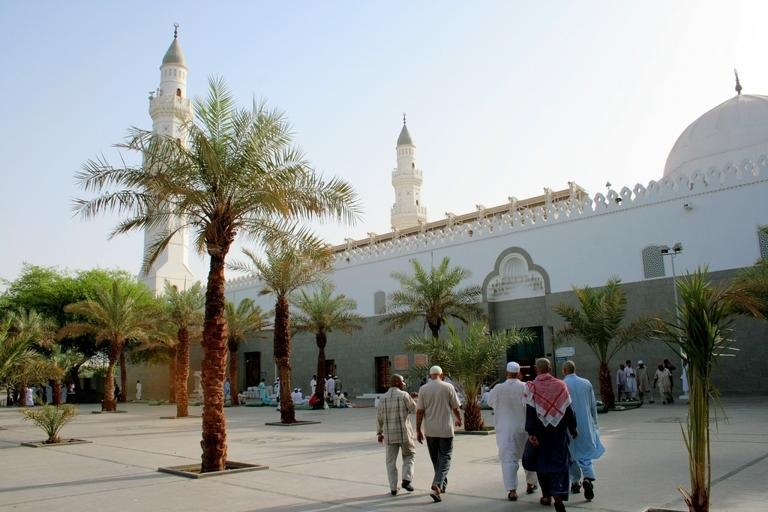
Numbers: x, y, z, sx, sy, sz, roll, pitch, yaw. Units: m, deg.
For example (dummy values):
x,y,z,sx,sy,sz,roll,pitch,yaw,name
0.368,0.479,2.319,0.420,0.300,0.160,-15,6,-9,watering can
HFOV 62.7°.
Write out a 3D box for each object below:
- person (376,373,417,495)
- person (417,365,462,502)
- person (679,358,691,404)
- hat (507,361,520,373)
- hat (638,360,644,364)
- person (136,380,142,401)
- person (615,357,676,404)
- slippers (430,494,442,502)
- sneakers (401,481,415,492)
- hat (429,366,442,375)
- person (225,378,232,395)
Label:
x,y,z,sx,sy,sz,roll,pitch,yaw,name
0.260,3.366,12.123,0.734,2.155,1.113,-2,-11,0,person
0.946,3.215,11.630,0.694,2.316,1.001,-8,-12,27,person
11.638,4.977,24.558,0.275,1.226,2.456,-7,-12,21,person
2.443,2.101,11.894,0.213,0.165,0.295,4,0,9,hat
10.425,4.302,25.535,0.124,0.159,0.080,-9,-16,40,hat
-16.198,8.870,41.724,0.350,1.182,1.485,2,-12,-21,person
10.497,4.960,25.144,1.824,1.610,0.476,-2,-7,30,person
0.924,4.206,11.009,0.182,0.159,0.182,-3,-11,3,slippers
0.486,4.225,11.553,0.283,0.213,0.113,-1,-8,15,sneakers
0.998,2.197,12.134,0.151,0.129,0.234,3,-10,6,hat
-8.451,7.071,34.087,0.259,0.917,1.252,0,-12,-15,person
